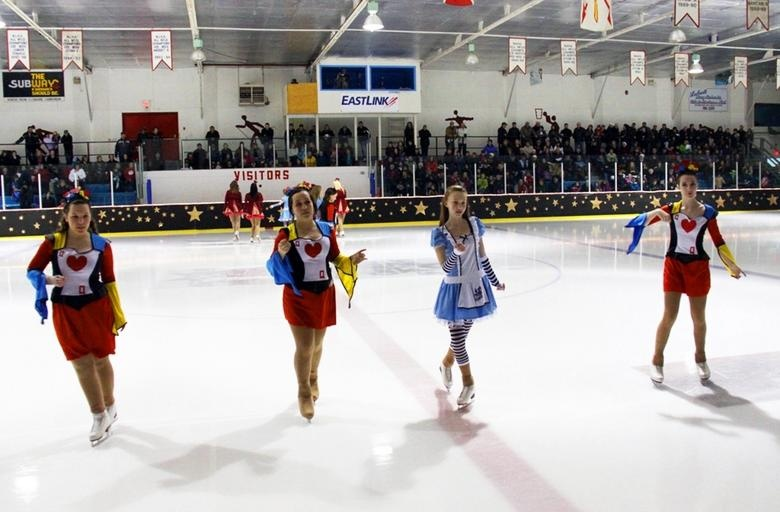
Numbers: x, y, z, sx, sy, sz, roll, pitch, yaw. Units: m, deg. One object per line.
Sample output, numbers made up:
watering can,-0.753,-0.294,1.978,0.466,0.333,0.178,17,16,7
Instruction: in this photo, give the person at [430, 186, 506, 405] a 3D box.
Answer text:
person,0.722,0.381,6.538,0.565,2.138,0.728,6,15,29

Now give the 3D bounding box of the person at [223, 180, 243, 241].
person,-4.644,-1.322,19.286,0.561,1.809,1.483,-6,14,-20

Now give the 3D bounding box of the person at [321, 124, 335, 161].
person,-2.380,-4.136,24.014,0.526,1.524,0.440,2,2,18

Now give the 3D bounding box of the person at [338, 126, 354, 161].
person,-1.646,-4.086,24.112,0.504,1.611,0.455,-4,9,14

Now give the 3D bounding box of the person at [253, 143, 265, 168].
person,-4.728,-3.602,23.186,0.413,0.843,0.155,-7,14,-23

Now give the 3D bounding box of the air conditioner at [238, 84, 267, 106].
air conditioner,-5.747,-6.652,27.240,1.384,1.004,0.749,-1,-2,-13

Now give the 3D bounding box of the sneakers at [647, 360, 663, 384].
sneakers,2.844,1.226,6.899,0.138,0.188,0.298,4,14,22

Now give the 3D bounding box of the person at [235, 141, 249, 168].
person,-5.251,-3.608,23.133,0.528,0.865,0.209,-2,11,-3

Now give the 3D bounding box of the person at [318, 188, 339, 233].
person,-1.637,-1.259,17.339,0.478,1.603,0.765,-11,56,-11

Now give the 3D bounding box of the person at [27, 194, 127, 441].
person,-2.845,0.560,6.040,0.753,2.197,0.621,11,18,42

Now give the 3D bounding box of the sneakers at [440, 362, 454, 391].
sneakers,0.582,1.276,6.841,0.104,0.287,0.119,-4,-4,-27

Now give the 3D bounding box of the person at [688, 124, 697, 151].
person,13.164,-5.153,28.194,0.317,0.976,1.064,5,14,24

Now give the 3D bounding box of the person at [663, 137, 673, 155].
person,11.667,-4.611,27.222,0.407,0.472,1.881,5,14,22

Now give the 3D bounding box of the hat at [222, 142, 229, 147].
hat,-5.832,-3.915,22.929,0.164,0.148,0.177,-11,2,9

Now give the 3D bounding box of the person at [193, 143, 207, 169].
person,-6.731,-3.526,22.862,0.522,0.837,0.141,-8,15,-29

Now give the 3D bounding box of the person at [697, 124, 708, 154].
person,13.657,-5.084,28.245,0.392,0.996,1.183,5,15,25

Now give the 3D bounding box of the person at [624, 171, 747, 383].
person,3.161,0.196,6.917,1.020,2.168,0.775,-4,14,-12

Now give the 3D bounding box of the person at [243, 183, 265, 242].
person,-4.028,-1.283,19.030,0.511,1.791,1.215,-4,14,-13

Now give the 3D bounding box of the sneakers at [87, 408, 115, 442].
sneakers,-2.667,1.556,6.057,0.125,0.154,0.388,-9,27,6

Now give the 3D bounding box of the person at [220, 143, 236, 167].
person,-5.766,-3.572,23.052,0.610,0.881,0.227,-5,14,-17

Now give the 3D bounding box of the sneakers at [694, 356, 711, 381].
sneakers,3.326,1.198,6.873,0.152,0.204,0.237,6,15,27

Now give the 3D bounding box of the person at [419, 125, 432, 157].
person,1.355,-4.609,25.910,0.395,1.045,0.757,-2,13,-3

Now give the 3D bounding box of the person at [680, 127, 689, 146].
person,12.687,-5.101,27.949,0.344,0.773,1.408,5,14,24

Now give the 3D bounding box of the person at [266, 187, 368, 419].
person,-0.755,0.426,6.384,0.768,2.185,0.657,-10,16,-33

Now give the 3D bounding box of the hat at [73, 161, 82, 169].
hat,-10.012,-2.872,20.707,0.254,0.215,0.342,-7,14,-24

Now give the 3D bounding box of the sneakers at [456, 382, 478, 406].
sneakers,0.786,1.374,6.528,0.123,0.204,0.349,8,16,34
